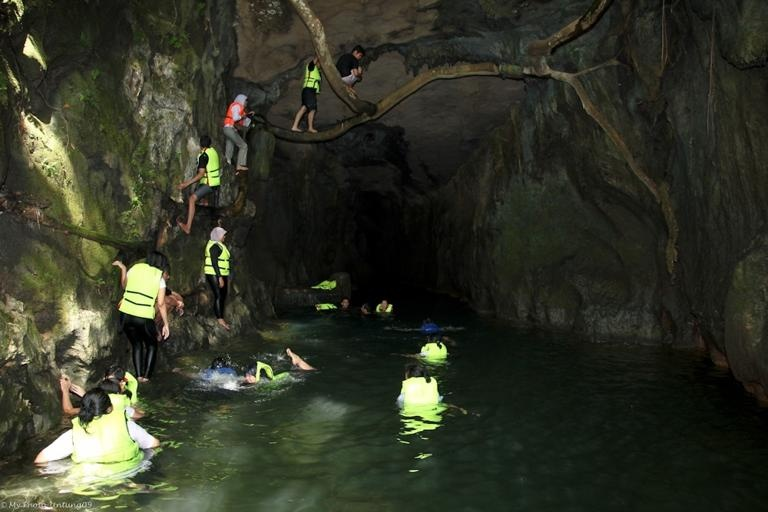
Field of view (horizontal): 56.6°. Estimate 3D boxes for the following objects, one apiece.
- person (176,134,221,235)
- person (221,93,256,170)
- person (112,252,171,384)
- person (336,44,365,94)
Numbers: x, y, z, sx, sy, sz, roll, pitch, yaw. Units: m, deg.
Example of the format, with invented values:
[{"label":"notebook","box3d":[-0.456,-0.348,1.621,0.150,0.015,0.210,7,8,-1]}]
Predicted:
[{"label":"person","box3d":[-4.271,-1.693,16.189,0.887,1.262,2.088,29,-45,-2]},{"label":"person","box3d":[-3.703,-3.195,17.861,0.838,0.847,2.252,-11,-23,-21]},{"label":"person","box3d":[-4.558,1.183,13.469,0.874,2.546,0.699,-1,4,-20]},{"label":"person","box3d":[-0.846,-4.578,17.421,0.654,1.221,1.370,0,4,-2]}]
